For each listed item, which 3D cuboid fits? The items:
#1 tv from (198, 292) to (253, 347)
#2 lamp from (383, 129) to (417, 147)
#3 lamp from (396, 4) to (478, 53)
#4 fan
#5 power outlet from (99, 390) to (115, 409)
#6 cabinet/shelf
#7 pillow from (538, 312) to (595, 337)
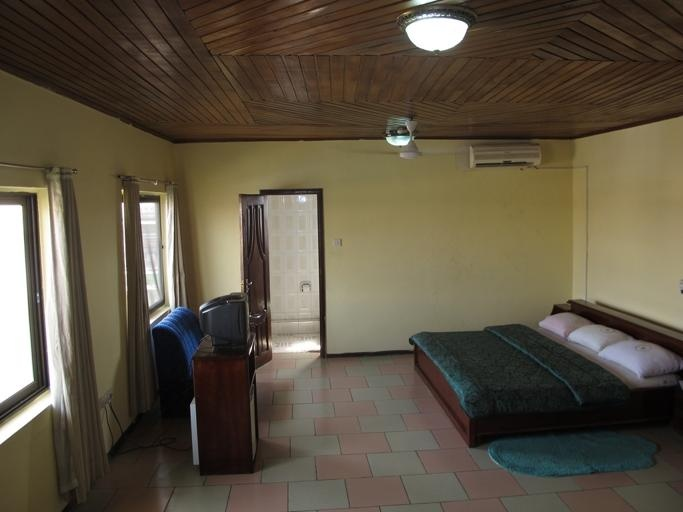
[{"bbox_3d":[-1.012,0.554,4.358,0.482,0.392,0.449,0,3,-10],"label":"tv"},{"bbox_3d":[0.578,-1.173,4.853,0.251,0.169,0.175,0,12,7],"label":"lamp"},{"bbox_3d":[0.519,-1.269,2.696,0.255,0.089,0.257,-2,-1,39],"label":"lamp"},{"bbox_3d":[0.676,-1.236,5.203,0.906,0.284,0.829,-1,4,0],"label":"fan"},{"bbox_3d":[-2.064,1.249,4.253,0.035,0.103,0.106,14,-35,1],"label":"power outlet"},{"bbox_3d":[-0.985,1.273,4.082,0.560,0.981,1.162,-2,6,-5],"label":"cabinet/shelf"},{"bbox_3d":[2.683,0.801,5.747,0.334,0.089,0.329,-12,10,-18],"label":"pillow"}]
